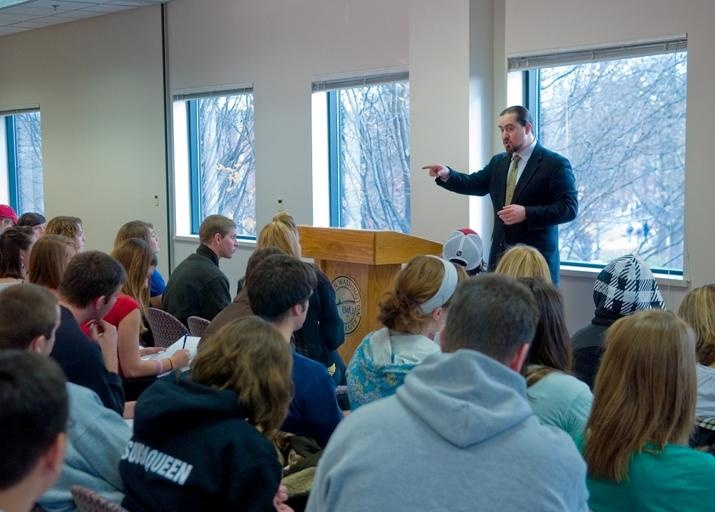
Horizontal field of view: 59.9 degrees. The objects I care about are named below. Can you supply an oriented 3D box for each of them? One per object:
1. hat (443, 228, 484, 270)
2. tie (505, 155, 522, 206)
[{"bbox_3d":[0.738,-0.049,4.125,0.187,0.166,0.297,8,15,16],"label":"hat"},{"bbox_3d":[1.143,-0.541,4.447,0.033,0.325,0.067,-5,14,-31],"label":"tie"}]
